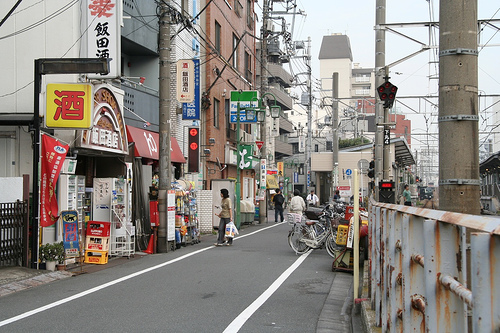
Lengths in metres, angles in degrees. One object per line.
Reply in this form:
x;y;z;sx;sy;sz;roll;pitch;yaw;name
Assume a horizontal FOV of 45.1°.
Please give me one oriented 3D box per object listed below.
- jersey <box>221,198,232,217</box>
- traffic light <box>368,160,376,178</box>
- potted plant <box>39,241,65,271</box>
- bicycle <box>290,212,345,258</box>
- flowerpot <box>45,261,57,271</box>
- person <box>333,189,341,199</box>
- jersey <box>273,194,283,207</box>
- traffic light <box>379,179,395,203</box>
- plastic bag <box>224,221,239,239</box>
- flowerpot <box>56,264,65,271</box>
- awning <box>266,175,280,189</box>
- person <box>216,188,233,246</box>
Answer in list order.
-0.832;1.445;20.675;0.542;0.627;0.329;6;10;42;jersey
4.883;0.106;24.211;0.192;0.654;0.435;8;11;-6;traffic light
-4.906;2.195;14.962;0.620;0.740;0.551;2;4;20;potted plant
2.130;2.092;18.481;2.126;1.461;1.012;4;3;36;bicycle
-4.925;2.478;14.864;0.210;0.222;0.215;0;5;-24;flowerpot
5.432;1.759;38.015;0.536;0.803;0.406;4;39;11;person
1.473;1.872;34.057;0.755;0.901;0.466;0;6;14;jersey
3.824;0.717;16.901;0.418;0.605;0.637;0;0;14;traffic light
-0.655;2.205;20.764;0.542;0.611;0.372;2;-1;3;plastic bag
-4.724;2.534;15.005;0.206;0.170;0.123;1;0;-35;flowerpot
1.618;1.185;46.051;0.657;0.912;2.561;0;0;5;awning
-0.910;1.758;21.192;0.535;1.617;1.684;0;0;-2;person
